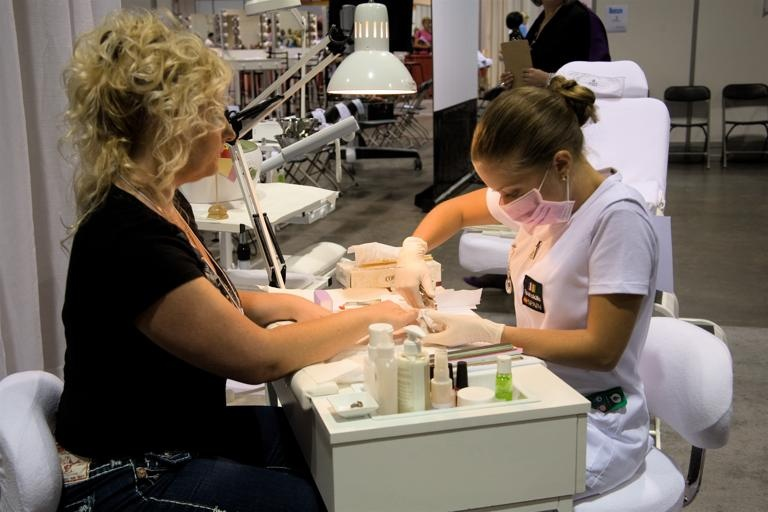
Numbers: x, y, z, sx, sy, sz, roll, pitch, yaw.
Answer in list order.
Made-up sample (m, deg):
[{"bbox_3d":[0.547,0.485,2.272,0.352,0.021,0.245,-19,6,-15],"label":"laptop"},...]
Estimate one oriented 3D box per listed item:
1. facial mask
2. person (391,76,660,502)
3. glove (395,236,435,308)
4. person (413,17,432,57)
[{"bbox_3d":[0.470,-0.166,1.943,0.134,0.157,0.155,31,-13,-25],"label":"facial mask"},{"bbox_3d":[0.437,0.210,2.097,0.808,1.377,0.664,1,15,5],"label":"person"},{"bbox_3d":[0.114,0.048,2.206,0.097,0.113,0.265,-33,16,19],"label":"glove"},{"bbox_3d":[0.946,-5.300,15.563,0.424,0.737,0.465,17,14,32],"label":"person"}]
